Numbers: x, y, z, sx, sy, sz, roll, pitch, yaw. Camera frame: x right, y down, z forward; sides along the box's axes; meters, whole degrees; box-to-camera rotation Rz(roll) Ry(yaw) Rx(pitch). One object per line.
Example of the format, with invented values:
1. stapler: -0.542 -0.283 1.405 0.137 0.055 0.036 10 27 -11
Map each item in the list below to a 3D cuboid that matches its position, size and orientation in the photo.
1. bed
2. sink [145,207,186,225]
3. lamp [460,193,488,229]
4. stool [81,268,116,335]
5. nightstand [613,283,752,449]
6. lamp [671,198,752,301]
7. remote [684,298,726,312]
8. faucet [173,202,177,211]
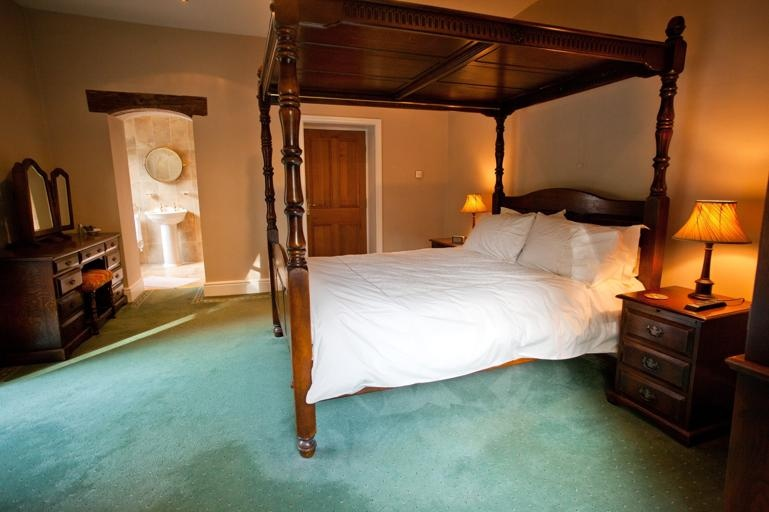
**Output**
1. bed: 0.614 0.536 5.279 2.939 2.499 2.480 -6 18 -18
2. sink: -3.499 -0.616 8.274 0.638 0.267 0.375 -6 13 -25
3. lamp: 1.119 -0.559 6.571 0.435 0.552 0.448 2 7 30
4. stool: -3.139 0.515 5.614 0.388 0.446 0.600 -8 11 -32
5. nightstand: 2.433 0.850 4.229 1.019 1.025 0.993 6 13 27
6. lamp: 2.618 -0.041 4.146 0.508 0.802 0.508 3 10 10
7. remote: 2.462 0.387 3.952 0.359 0.045 0.127 -5 12 -23
8. faucet: -3.442 -0.805 8.426 0.039 0.163 0.091 2 -27 -13
